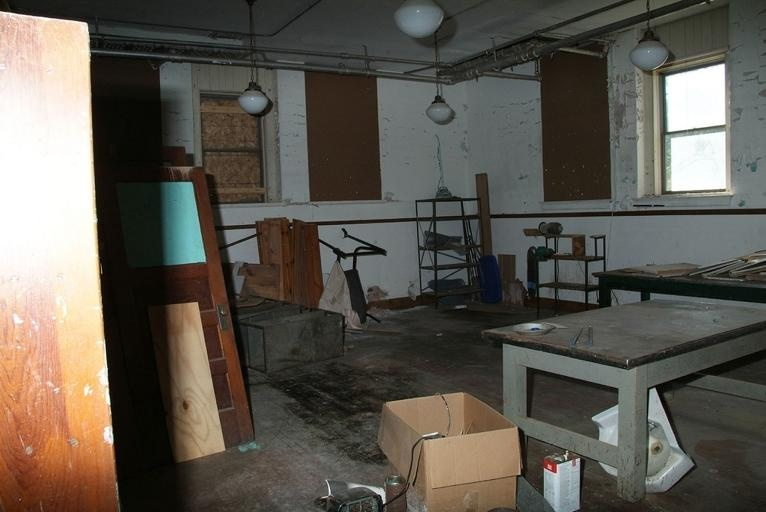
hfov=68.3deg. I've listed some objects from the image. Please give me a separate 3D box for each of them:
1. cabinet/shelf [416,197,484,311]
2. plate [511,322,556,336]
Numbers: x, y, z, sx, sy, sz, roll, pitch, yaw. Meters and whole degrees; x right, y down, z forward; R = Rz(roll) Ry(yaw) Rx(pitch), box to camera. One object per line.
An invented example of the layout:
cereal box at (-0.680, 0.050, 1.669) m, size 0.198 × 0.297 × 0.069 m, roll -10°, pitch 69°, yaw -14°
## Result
cabinet/shelf at (0.996, -0.099, 8.429) m, size 1.002 × 1.576 × 1.366 m, roll -2°, pitch 8°, yaw 0°
plate at (0.934, 0.448, 3.484) m, size 0.158 × 0.023 × 0.106 m, roll -6°, pitch 9°, yaw -21°
